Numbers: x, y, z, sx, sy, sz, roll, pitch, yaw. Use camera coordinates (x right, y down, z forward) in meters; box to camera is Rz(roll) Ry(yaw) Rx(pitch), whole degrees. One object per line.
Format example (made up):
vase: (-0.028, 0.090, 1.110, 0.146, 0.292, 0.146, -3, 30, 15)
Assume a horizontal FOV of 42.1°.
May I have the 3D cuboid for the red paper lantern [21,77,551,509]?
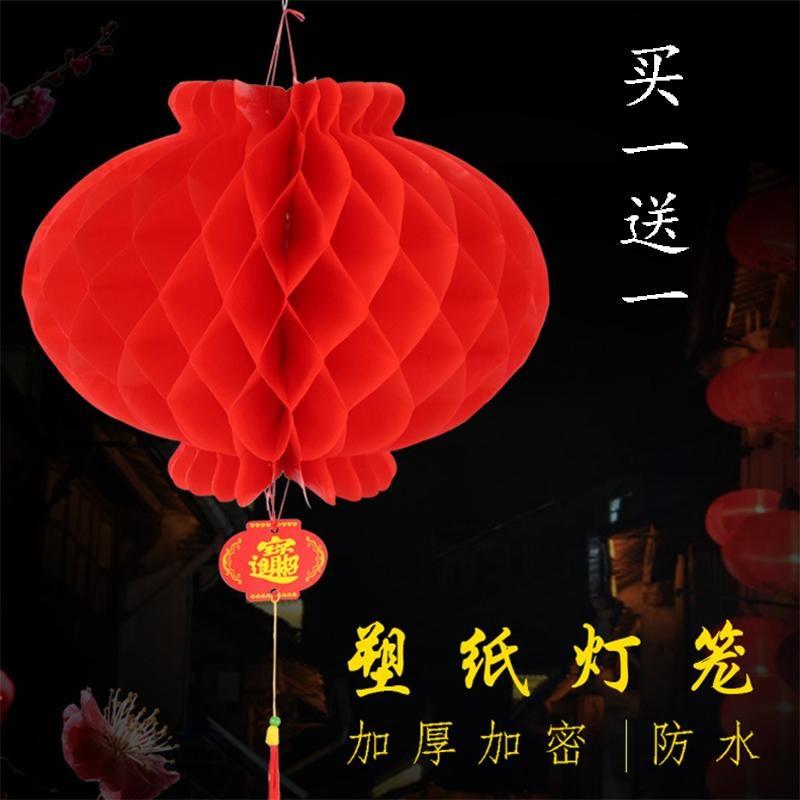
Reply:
red paper lantern: (-0.205, -0.146, 1.905, 0.917, 0.838, 0.923, 3, -5, -25)
